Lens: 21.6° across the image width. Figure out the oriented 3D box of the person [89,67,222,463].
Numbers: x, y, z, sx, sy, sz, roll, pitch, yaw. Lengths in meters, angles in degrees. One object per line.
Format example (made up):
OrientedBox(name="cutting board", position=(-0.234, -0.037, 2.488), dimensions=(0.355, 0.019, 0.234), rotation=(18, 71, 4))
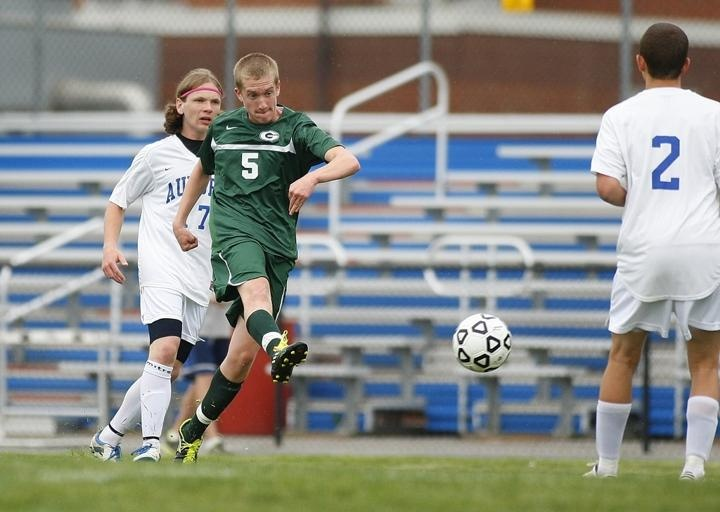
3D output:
OrientedBox(name="person", position=(-1.793, 0.076, 17.530), dimensions=(1.170, 3.619, 1.413), rotation=(-1, 10, -24))
